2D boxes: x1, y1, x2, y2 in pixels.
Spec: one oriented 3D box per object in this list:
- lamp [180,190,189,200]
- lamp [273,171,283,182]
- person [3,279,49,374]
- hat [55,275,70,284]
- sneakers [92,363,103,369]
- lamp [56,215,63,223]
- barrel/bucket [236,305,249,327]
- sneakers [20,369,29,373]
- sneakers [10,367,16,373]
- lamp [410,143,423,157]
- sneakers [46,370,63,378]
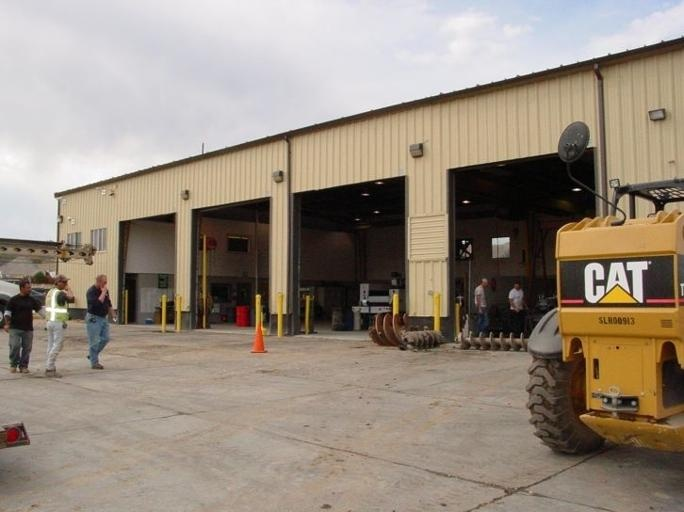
[{"bbox_3d":[-6.739,-2.612,24.995,0.198,0.421,0.538,0,0,-43],"label":"lamp"},{"bbox_3d":[-2.345,-2.895,21.334,0.193,0.362,0.359,6,-8,-43],"label":"lamp"},{"bbox_3d":[-6.347,1.382,11.625,0.616,1.956,1.329,0,0,-30],"label":"person"},{"bbox_3d":[-5.631,0.480,11.790,0.156,0.150,0.229,4,8,39],"label":"hat"},{"bbox_3d":[-5.087,2.288,12.142,0.213,0.103,0.100,-10,-11,41],"label":"sneakers"},{"bbox_3d":[-15.839,-2.044,32.874,0.130,0.485,0.534,0,0,-42],"label":"lamp"},{"bbox_3d":[-4.851,2.888,28.027,0.706,1.433,0.775,-1,-4,0],"label":"barrel/bucket"},{"bbox_3d":[-6.321,2.290,11.647,0.160,0.083,0.059,-13,-13,43],"label":"sneakers"},{"bbox_3d":[-6.543,2.247,11.589,0.199,0.101,0.072,-15,-14,43],"label":"sneakers"},{"bbox_3d":[2.248,-3.190,17.670,0.195,0.388,0.357,7,-9,-42],"label":"lamp"},{"bbox_3d":[-5.484,2.254,11.166,0.353,0.178,0.128,5,-3,-7],"label":"sneakers"}]
